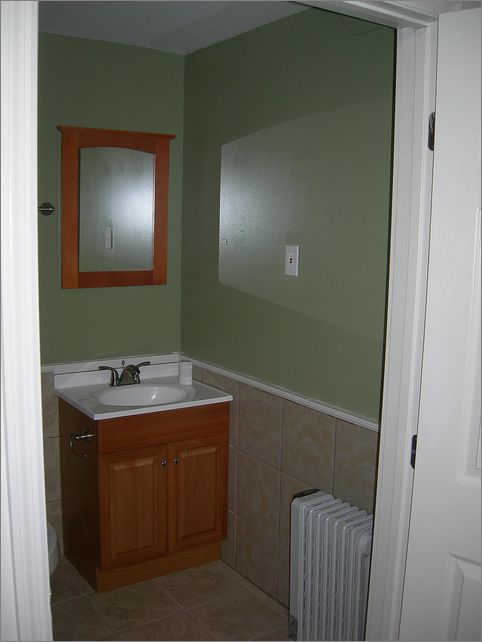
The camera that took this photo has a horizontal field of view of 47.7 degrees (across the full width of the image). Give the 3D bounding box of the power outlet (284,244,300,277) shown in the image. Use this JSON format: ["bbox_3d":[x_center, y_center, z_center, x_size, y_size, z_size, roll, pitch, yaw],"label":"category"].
[{"bbox_3d":[0.215,-0.255,2.304,0.018,0.173,0.124,-3,7,-30],"label":"power outlet"}]

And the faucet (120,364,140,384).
[{"bbox_3d":[-0.585,0.287,2.888,0.106,0.104,0.070,-2,6,-18],"label":"faucet"}]
